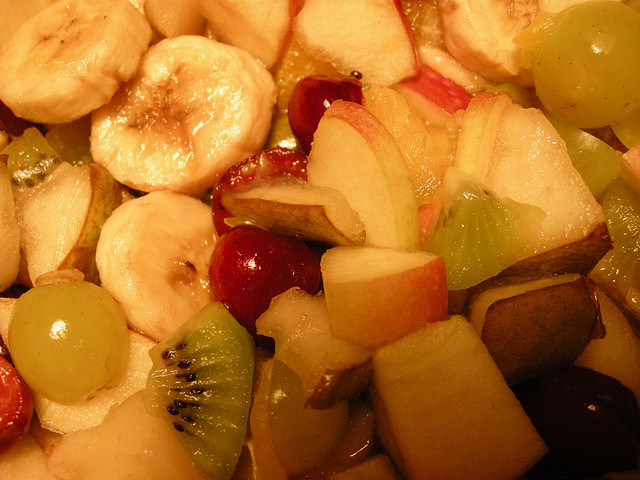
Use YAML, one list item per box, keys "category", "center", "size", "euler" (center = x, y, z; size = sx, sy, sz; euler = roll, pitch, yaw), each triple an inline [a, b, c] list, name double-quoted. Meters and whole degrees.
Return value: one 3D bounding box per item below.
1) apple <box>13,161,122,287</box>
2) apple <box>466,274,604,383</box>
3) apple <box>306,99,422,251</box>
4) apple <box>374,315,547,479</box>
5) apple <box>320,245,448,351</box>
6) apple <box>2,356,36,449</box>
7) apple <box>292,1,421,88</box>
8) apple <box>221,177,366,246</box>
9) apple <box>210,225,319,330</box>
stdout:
- category: "apple"
  center: [-0.470, -0.047, 1.517]
  size: [0.189, 0.086, 0.237]
  euler: [-15, 88, 8]
- category: "apple"
  center: [0.354, 0.137, 1.292]
  size: [0.193, 0.246, 0.191]
  euler: [-1, 106, 14]
- category: "apple"
  center: [0.081, -0.116, 1.313]
  size: [0.161, 0.264, 0.154]
  euler: [-1, 30, 3]
- category: "apple"
  center: [0.226, 0.282, 1.243]
  size: [0.249, 0.117, 0.255]
  euler: [-18, 68, -3]
- category: "apple"
  center: [0.105, 0.064, 1.224]
  size: [0.197, 0.173, 0.164]
  euler: [-3, 111, -1]
- category: "apple"
  center: [-0.555, 0.299, 1.373]
  size: [0.038, 0.110, 0.129]
  euler: [-9, 78, -24]
- category: "apple"
  center: [0.072, -0.402, 1.488]
  size: [0.248, 0.107, 0.149]
  euler: [9, 68, 8]
- category: "apple"
  center: [-0.048, -0.059, 1.298]
  size: [0.263, 0.137, 0.078]
  euler: [15, 66, 10]
- category: "apple"
  center: [-0.107, 0.061, 1.311]
  size: [0.153, 0.171, 0.168]
  euler: [-6, 75, 3]
